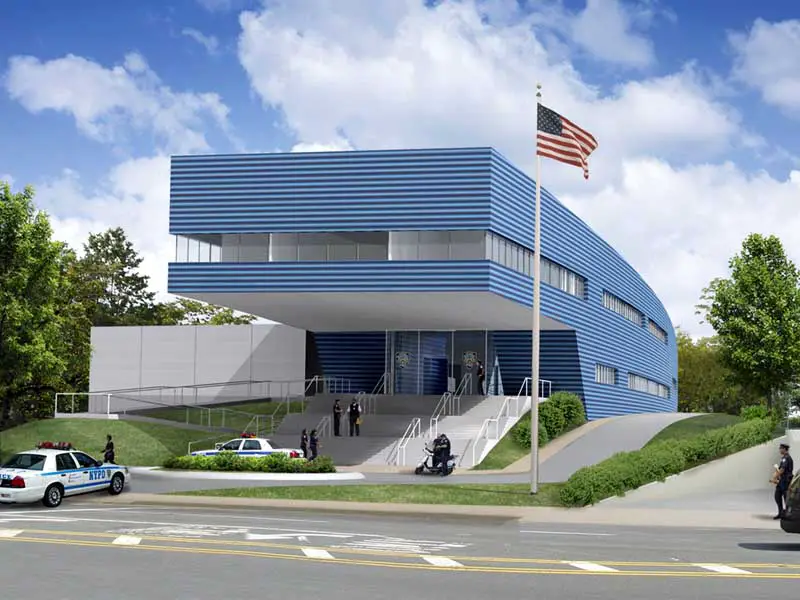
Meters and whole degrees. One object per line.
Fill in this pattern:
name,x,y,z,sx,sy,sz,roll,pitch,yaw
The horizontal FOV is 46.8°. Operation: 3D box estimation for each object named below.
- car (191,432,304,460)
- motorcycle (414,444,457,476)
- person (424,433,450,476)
car,-6.476,6.296,39.753,4.610,0.989,2.382,-5,-14,23
motorcycle,1.463,6.637,37.714,1.923,1.244,1.008,3,-16,-5
person,1.591,6.293,37.675,0.986,1.728,1.350,0,-12,2
